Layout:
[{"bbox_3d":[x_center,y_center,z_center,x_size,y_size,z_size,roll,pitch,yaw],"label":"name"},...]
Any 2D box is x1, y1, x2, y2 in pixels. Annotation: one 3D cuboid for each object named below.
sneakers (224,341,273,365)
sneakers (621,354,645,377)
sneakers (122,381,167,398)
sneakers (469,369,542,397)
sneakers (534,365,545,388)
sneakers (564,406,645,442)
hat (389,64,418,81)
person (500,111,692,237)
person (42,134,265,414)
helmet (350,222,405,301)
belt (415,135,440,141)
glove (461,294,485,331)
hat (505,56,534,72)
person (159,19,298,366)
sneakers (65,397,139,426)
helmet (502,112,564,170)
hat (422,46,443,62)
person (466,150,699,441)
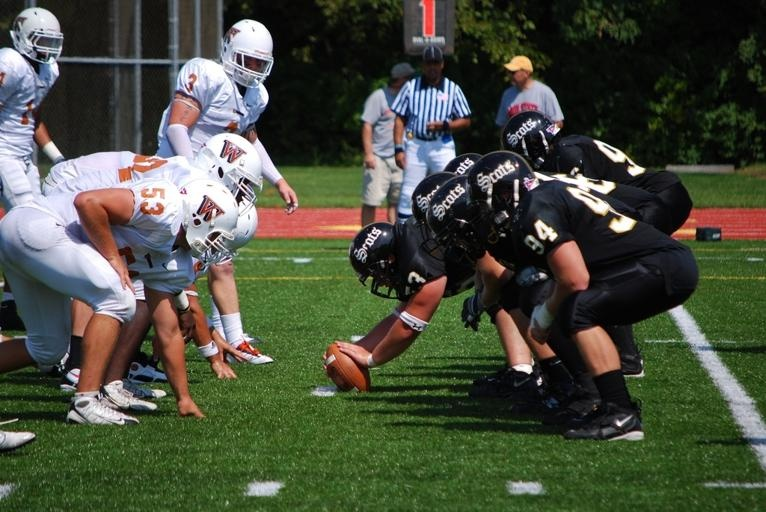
[{"bbox_3d":[-0.926,0.671,7.384,0.333,0.147,0.130,3,2,10],"label":"sneakers"},{"bbox_3d":[1.635,0.728,7.147,0.111,0.092,0.248,9,3,-9],"label":"sneakers"},{"bbox_3d":[-1.538,0.861,6.839,0.294,0.110,0.107,7,14,-18],"label":"sneakers"},{"bbox_3d":[0.779,0.800,6.884,0.468,0.207,0.190,2,-5,7],"label":"sneakers"},{"bbox_3d":[0.994,0.775,6.897,0.041,0.113,0.082,-3,4,-10],"label":"sneakers"},{"bbox_3d":[1.281,0.977,6.223,0.489,0.221,0.187,0,-4,5],"label":"sneakers"},{"bbox_3d":[0.201,-2.015,11.629,0.226,0.121,0.166,-18,43,-1],"label":"hat"},{"bbox_3d":[1.406,-0.510,7.490,1.515,0.598,1.063,-14,17,-13],"label":"person"},{"bbox_3d":[-1.520,0.039,6.856,1.520,1.694,0.979,0,-18,18],"label":"person"},{"bbox_3d":[-0.056,0.026,7.028,0.410,0.475,0.376,7,21,-7],"label":"helmet"},{"bbox_3d":[0.408,-1.140,10.343,0.217,0.061,0.035,0,12,0],"label":"belt"},{"bbox_3d":[0.563,0.401,6.995,0.102,0.301,0.135,10,16,9],"label":"glove"},{"bbox_3d":[1.414,-2.055,11.351,0.251,0.156,0.925,1,13,5],"label":"hat"},{"bbox_3d":[-1.106,-0.461,7.581,1.102,2.367,1.024,6,4,36],"label":"person"},{"bbox_3d":[-1.676,0.925,6.338,0.443,0.182,0.148,4,3,-9],"label":"sneakers"},{"bbox_3d":[0.953,-0.801,7.251,0.349,0.379,0.295,43,3,-7],"label":"helmet"},{"bbox_3d":[0.468,-1.987,10.476,0.184,0.141,0.330,0,13,0],"label":"hat"},{"bbox_3d":[1.119,0.208,6.227,1.311,1.594,0.564,4,13,17],"label":"person"}]
